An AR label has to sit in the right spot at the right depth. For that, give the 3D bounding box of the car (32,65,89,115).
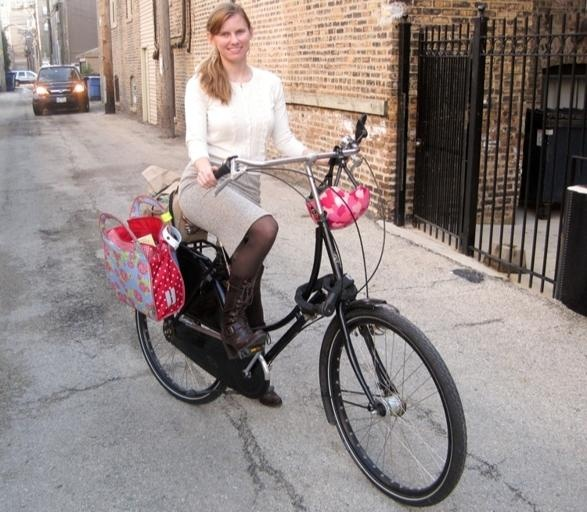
[{"bbox_3d":[-11.510,-8.468,25.309,1.799,2.078,3.563,-4,12,-20],"label":"car"}]

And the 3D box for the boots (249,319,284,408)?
[{"bbox_3d":[-0.163,0.641,2.988,0.094,0.531,0.231,-5,21,-33],"label":"boots"}]

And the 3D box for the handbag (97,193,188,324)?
[{"bbox_3d":[-0.854,-0.008,2.825,0.541,0.608,0.302,15,25,39],"label":"handbag"}]

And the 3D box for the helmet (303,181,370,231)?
[{"bbox_3d":[0.186,-0.199,2.311,0.258,0.211,0.233,19,38,20],"label":"helmet"}]
